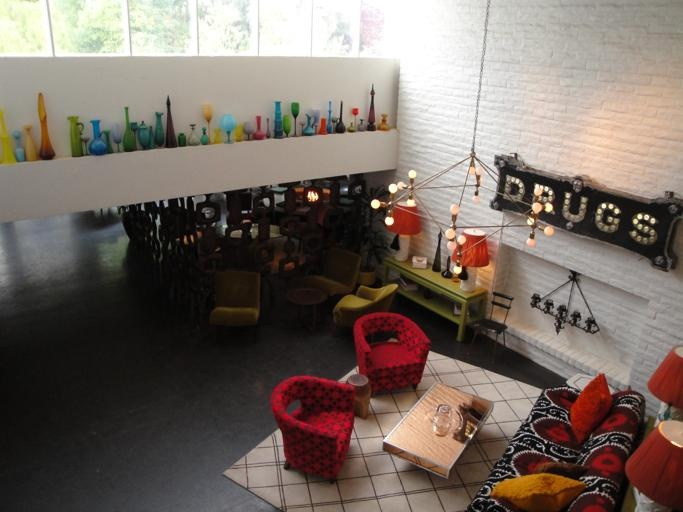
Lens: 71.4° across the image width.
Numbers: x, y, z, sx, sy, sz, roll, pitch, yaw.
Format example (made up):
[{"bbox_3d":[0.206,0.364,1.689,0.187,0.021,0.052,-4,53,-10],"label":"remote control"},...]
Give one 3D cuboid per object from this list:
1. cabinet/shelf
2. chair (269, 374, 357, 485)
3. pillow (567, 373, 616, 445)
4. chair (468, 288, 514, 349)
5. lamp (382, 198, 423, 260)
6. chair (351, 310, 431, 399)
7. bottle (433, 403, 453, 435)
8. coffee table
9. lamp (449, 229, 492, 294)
[{"bbox_3d":[1.722,0.729,9.302,0.730,0.914,2.087,-12,26,-37],"label":"cabinet/shelf"},{"bbox_3d":[-0.223,2.216,6.270,1.117,1.160,1.218,5,29,8],"label":"chair"},{"bbox_3d":[3.210,2.043,6.176,0.578,0.818,0.970,1,6,34],"label":"pillow"},{"bbox_3d":[2.609,1.131,8.247,0.499,0.889,0.610,13,17,34],"label":"chair"},{"bbox_3d":[1.169,-0.527,8.843,0.742,1.287,0.754,0,31,-2],"label":"lamp"},{"bbox_3d":[0.694,1.567,7.533,1.075,0.933,1.032,-7,21,-23],"label":"chair"},{"bbox_3d":[1.303,2.129,6.151,0.240,0.392,0.244,9,-7,1],"label":"bottle"},{"bbox_3d":[1.332,2.302,6.349,1.011,0.276,1.491,8,25,33],"label":"coffee table"},{"bbox_3d":[2.151,0.104,7.953,0.616,1.011,0.617,3,11,-16],"label":"lamp"}]
